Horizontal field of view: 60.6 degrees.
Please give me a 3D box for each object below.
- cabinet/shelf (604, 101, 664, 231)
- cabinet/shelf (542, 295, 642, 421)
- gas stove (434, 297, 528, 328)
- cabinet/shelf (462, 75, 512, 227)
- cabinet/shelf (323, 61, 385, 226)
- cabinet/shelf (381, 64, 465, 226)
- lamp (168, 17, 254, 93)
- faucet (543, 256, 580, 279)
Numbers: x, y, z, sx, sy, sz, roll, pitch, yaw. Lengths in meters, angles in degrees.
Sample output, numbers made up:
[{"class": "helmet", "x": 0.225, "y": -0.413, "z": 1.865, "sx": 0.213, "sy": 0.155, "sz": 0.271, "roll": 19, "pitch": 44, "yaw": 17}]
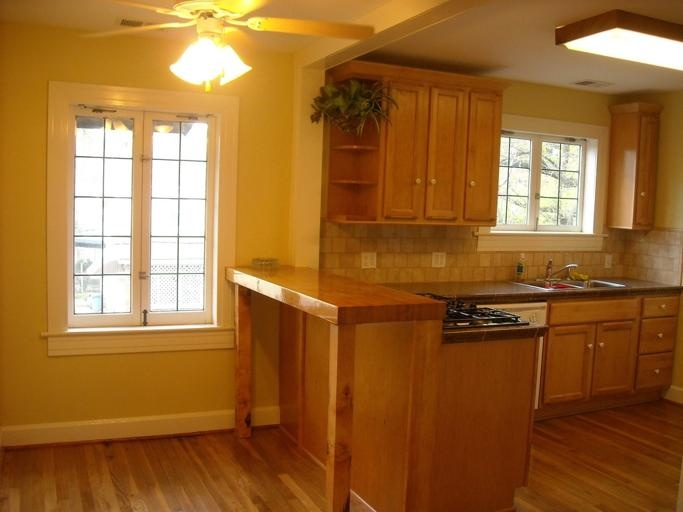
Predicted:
[{"class": "cabinet/shelf", "x": 2.763, "y": -0.851, "z": 5.576, "sx": 0.498, "sy": 1.175, "sz": 0.253, "roll": 6, "pitch": 11, "yaw": 23}, {"class": "cabinet/shelf", "x": 2.021, "y": 0.812, "z": 5.197, "sx": 1.246, "sy": 0.954, "sz": 0.567, "roll": 0, "pitch": 7, "yaw": -29}, {"class": "gas stove", "x": 0.887, "y": 0.363, "z": 3.578, "sx": 0.484, "sy": 0.062, "sz": 0.680, "roll": 4, "pitch": 10, "yaw": 11}, {"class": "cabinet/shelf", "x": 1.171, "y": -0.805, "z": 4.849, "sx": 0.350, "sy": 1.100, "sz": 0.122, "roll": -2, "pitch": 11, "yaw": -20}, {"class": "cabinet/shelf", "x": 0.100, "y": -0.656, "z": 4.582, "sx": 0.358, "sy": 0.771, "sz": 0.433, "roll": -3, "pitch": 11, "yaw": -23}, {"class": "cabinet/shelf", "x": 0.579, "y": -0.861, "z": 4.762, "sx": 0.938, "sy": 1.156, "sz": 0.352, "roll": -3, "pitch": 9, "yaw": -32}, {"class": "lamp", "x": -0.639, "y": -0.970, "z": 2.870, "sx": 0.207, "sy": 0.341, "sz": 0.312, "roll": 9, "pitch": 12, "yaw": 35}, {"class": "faucet", "x": 2.074, "y": 0.099, "z": 5.510, "sx": 0.249, "sy": 0.122, "sz": 0.236, "roll": -1, "pitch": 1, "yaw": -33}]
